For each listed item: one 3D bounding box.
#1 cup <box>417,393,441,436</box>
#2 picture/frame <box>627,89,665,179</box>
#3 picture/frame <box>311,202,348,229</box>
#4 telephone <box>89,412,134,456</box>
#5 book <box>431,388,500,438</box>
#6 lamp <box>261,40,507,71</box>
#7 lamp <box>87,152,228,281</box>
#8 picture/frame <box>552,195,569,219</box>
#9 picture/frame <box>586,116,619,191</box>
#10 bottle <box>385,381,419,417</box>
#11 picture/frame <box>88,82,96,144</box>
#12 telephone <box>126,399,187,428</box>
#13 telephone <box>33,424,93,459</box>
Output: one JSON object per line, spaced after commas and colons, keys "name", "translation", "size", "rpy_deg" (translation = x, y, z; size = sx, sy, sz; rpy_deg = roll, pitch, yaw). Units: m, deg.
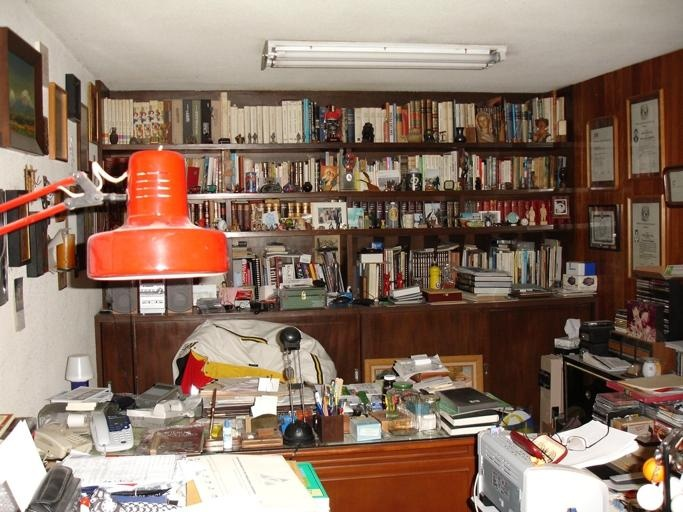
{"name": "cup", "translation": [0.454, 0.827, 3.048], "size": [0.145, 0.267, 0.149], "rpy_deg": [1, 0, 0]}
{"name": "picture/frame", "translation": [2.418, -0.956, 4.623], "size": [0.050, 0.538, 0.364], "rpy_deg": [-3, 1, -13]}
{"name": "picture/frame", "translation": [-0.110, -0.348, 5.129], "size": [0.231, 0.210, 0.035], "rpy_deg": [0, -3, -7]}
{"name": "telephone", "translation": [-1.121, 0.857, 2.845], "size": [0.179, 0.100, 0.261], "rpy_deg": [3, 12, -33]}
{"name": "book", "translation": [0.671, 0.826, 3.048], "size": [0.209, 0.083, 0.224], "rpy_deg": [-1, 5, -9]}
{"name": "lamp", "translation": [0.298, -1.418, 4.107], "size": [1.683, 0.174, 0.432], "rpy_deg": [-3, 1, -6]}
{"name": "lamp", "translation": [-0.554, -0.108, 1.866], "size": [0.382, 0.353, 0.397], "rpy_deg": [-2, 5, -8]}
{"name": "picture/frame", "translation": [2.046, -0.445, 5.427], "size": [0.192, 0.289, 0.019], "rpy_deg": [0, 2, -1]}
{"name": "picture/frame", "translation": [2.261, -0.883, 5.044], "size": [0.073, 0.513, 0.344], "rpy_deg": [-3, 1, -11]}
{"name": "bottle", "translation": [0.325, 0.754, 3.116], "size": [0.135, 0.262, 0.149], "rpy_deg": [0, 1, 0]}
{"name": "picture/frame", "translation": [-1.992, -1.130, 4.652], "size": [0.068, 0.507, 0.271], "rpy_deg": [-3, 1, -21]}
{"name": "telephone", "translation": [-0.963, 0.819, 3.050], "size": [0.176, 0.069, 0.153], "rpy_deg": [-1, 2, -3]}
{"name": "telephone", "translation": [-1.333, 0.890, 2.774], "size": [0.249, 0.102, 0.196], "rpy_deg": [11, 3, 7]}
